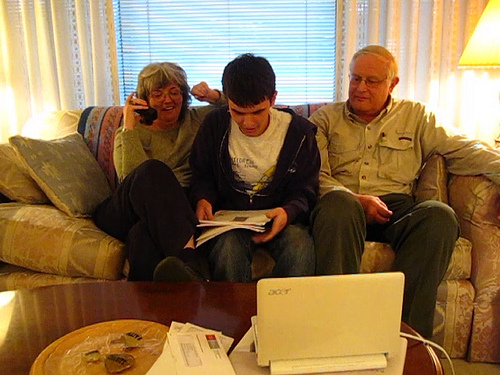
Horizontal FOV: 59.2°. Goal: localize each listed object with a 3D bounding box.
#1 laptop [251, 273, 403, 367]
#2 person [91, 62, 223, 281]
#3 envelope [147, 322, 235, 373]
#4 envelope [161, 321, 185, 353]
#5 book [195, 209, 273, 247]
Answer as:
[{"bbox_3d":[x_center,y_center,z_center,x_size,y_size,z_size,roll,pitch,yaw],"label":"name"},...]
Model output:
[{"bbox_3d":[0.214,0.362,1.125,0.348,0.258,0.268,0,8,-4],"label":"laptop"},{"bbox_3d":[-0.432,0.003,2.192,0.608,1.370,0.887,0,-10,-14],"label":"person"},{"bbox_3d":[-0.198,0.443,1.201,0.093,0.006,0.154,16,37,14],"label":"envelope"},{"bbox_3d":[-0.228,0.448,1.367,0.043,0.016,0.065,9,38,8],"label":"envelope"},{"bbox_3d":[-0.059,0.163,2.049,0.332,0.125,0.309,2,17,7],"label":"book"}]
